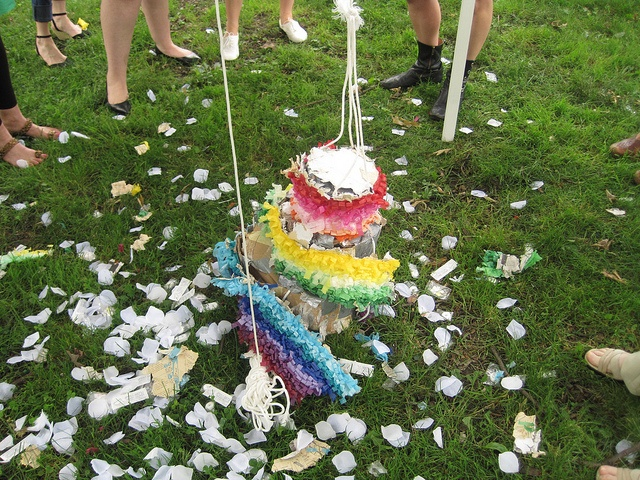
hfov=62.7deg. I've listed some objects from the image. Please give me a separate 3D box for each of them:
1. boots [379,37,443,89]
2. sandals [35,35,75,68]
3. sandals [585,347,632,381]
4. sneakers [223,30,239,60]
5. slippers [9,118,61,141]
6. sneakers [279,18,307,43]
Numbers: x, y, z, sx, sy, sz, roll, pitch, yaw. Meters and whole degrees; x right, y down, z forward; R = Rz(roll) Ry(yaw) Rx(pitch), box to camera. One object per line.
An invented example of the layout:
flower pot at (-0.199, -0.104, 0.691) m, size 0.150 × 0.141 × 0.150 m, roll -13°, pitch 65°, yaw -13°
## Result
boots at (0.659, -1.320, 4.112) m, size 0.573 × 0.412 × 0.257 m, roll -10°, pitch 61°, yaw 3°
sandals at (-2.182, -1.555, 4.257) m, size 0.431 × 0.193 × 0.138 m, roll 29°, pitch 30°, yaw 31°
sandals at (1.408, 0.592, 2.591) m, size 0.191 × 0.072 × 0.104 m, roll 20°, pitch 40°, yaw 30°
sneakers at (-0.750, -1.624, 4.394) m, size 0.121 × 0.159 × 0.271 m, roll -4°, pitch 39°, yaw -7°
slippers at (-1.923, -0.733, 3.571) m, size 0.343 × 0.145 × 0.130 m, roll -1°, pitch 28°, yaw -20°
sneakers at (-0.238, -1.835, 4.598) m, size 0.248 × 0.100 × 0.140 m, roll 40°, pitch 76°, yaw 13°
